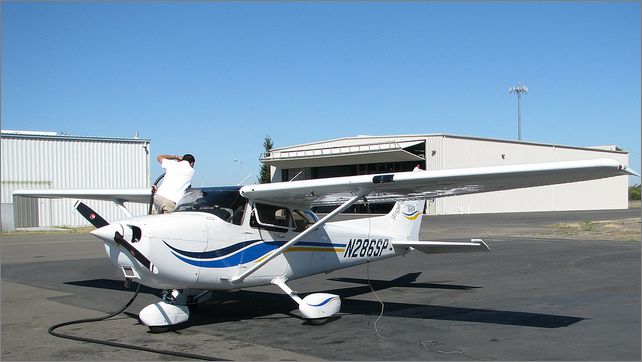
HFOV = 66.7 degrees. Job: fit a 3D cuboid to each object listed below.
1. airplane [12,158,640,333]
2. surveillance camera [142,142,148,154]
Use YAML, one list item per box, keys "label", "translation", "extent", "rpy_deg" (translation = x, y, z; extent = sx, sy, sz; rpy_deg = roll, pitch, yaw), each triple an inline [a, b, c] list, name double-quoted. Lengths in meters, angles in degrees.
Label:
- label: "airplane"
  translation: [0.064, 1.288, 10.489]
  extent: [8.226, 2.751, 3.842]
  rpy_deg: [1, 0, 4]
- label: "surveillance camera"
  translation: [-12.383, -2.322, 34.355]
  extent: [0.296, 0.598, 0.171]
  rpy_deg: [-11, 8, -9]
